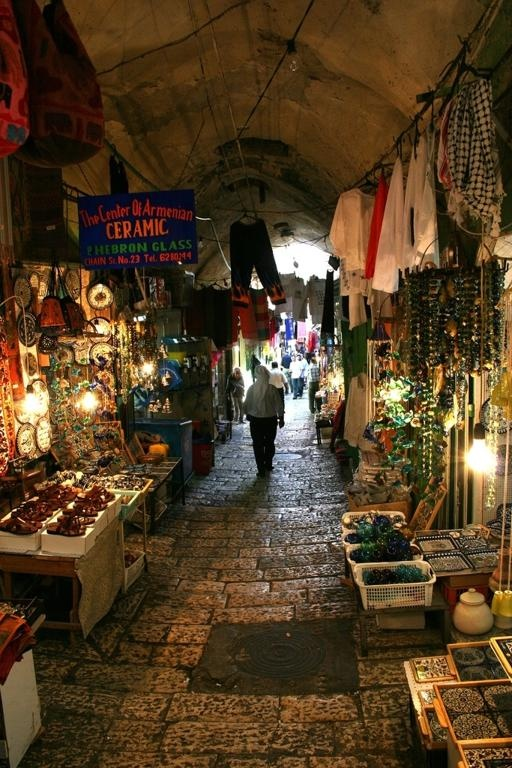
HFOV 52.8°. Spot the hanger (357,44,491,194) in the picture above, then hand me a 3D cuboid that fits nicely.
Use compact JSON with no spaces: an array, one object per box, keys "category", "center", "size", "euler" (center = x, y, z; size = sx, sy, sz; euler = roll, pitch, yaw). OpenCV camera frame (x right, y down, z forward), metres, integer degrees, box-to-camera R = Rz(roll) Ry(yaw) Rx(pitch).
[{"category":"hanger","center":[1.249,-1.979,4.228],"size":[0.259,0.254,1.872],"euler":[-10,-23,-18]}]

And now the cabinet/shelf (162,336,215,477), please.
[{"category":"cabinet/shelf","center":[-1.901,0.579,11.680],"size":[1.013,3.198,1.713],"euler":[-5,-2,-36]}]

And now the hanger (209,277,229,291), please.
[{"category":"hanger","center":[-0.962,-2.695,13.837],"size":[0.702,0.233,0.694],"euler":[-3,6,-22]}]

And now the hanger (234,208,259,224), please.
[{"category":"hanger","center":[-0.243,-4.151,12.722],"size":[0.541,0.300,0.995],"euler":[-2,1,-1]}]

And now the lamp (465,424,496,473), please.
[{"category":"lamp","center":[1.692,0.508,3.900],"size":[0.219,0.427,0.220],"euler":[8,-11,-30]}]

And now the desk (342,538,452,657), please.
[{"category":"desk","center":[1.164,1.780,4.334],"size":[0.716,0.593,0.697],"euler":[-2,1,2]}]

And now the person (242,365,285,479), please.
[{"category":"person","center":[0.154,0.728,10.109],"size":[0.556,1.866,0.708],"euler":[-1,1,38]}]
